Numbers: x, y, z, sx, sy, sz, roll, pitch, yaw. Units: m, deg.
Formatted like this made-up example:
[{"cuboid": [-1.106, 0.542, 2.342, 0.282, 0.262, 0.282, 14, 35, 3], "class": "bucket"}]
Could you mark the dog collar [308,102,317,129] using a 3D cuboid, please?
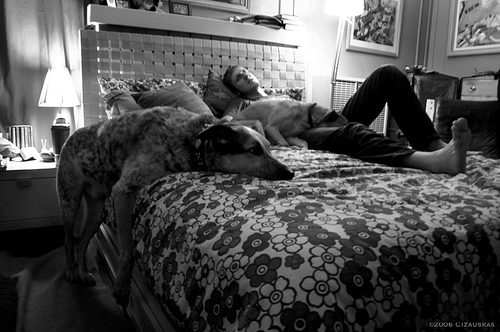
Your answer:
[{"cuboid": [0.472, -0.373, 2.563, 0.057, 0.148, 0.112, 8, 23, 38], "class": "dog collar"}]

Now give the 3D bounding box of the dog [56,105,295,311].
[{"cuboid": [-0.562, 0.167, 1.853, 1.545, 0.930, 0.548, -3, -5, 24], "class": "dog"}]
